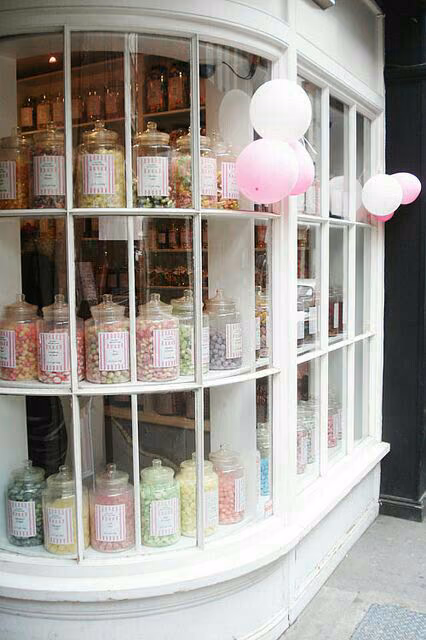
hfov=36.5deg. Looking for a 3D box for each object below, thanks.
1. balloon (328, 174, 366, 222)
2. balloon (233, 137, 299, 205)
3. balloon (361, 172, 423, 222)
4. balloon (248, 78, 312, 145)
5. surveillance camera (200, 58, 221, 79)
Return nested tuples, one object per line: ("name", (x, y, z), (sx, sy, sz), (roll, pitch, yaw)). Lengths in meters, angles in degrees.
("balloon", (0.563, -0.530, 2.885), (0.217, 0.219, 0.085), (-23, 26, -35))
("balloon", (0.155, -0.409, 1.838), (0.176, 0.207, 0.178), (3, 4, 17))
("balloon", (0.828, -0.592, 3.081), (0.177, 0.181, 0.320), (26, 27, 32))
("balloon", (0.195, -0.598, 1.855), (0.183, 0.214, 0.184), (2, 10, 9))
("surveillance camera", (-0.016, -0.742, 1.915), (0.060, 0.054, 0.099), (0, 9, -8))
